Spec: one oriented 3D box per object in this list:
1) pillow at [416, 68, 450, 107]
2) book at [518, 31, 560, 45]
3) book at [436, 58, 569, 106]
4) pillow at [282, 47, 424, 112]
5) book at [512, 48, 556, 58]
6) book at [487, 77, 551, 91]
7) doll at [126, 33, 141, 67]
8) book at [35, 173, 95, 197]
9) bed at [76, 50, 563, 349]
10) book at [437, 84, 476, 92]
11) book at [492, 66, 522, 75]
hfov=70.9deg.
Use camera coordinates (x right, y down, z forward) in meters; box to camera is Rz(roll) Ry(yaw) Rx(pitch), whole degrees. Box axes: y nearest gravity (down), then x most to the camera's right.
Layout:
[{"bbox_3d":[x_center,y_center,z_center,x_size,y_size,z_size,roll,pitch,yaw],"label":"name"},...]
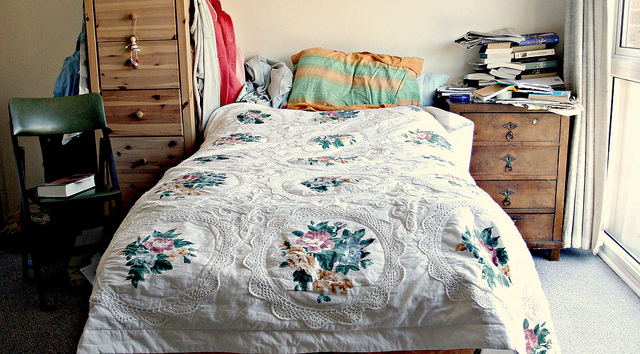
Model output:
[{"bbox_3d":[0.965,-0.788,3.940,0.359,0.283,0.097,8,0,13],"label":"pillow"},{"bbox_3d":[1.868,-1.199,3.865,0.373,0.110,0.246,1,17,6],"label":"book"},{"bbox_3d":[1.558,-0.746,3.712,0.735,0.189,0.688,1,24,6],"label":"book"},{"bbox_3d":[0.283,-0.818,3.855,1.239,0.602,0.304,0,-4,2],"label":"pillow"},{"bbox_3d":[1.805,-1.052,3.799,0.345,0.074,0.071,-3,19,-8],"label":"book"},{"bbox_3d":[1.654,-0.742,3.638,0.391,0.072,0.072,7,20,24],"label":"book"},{"bbox_3d":[-1.524,-1.035,3.658,0.100,0.246,0.091,-6,21,-12],"label":"doll"},{"bbox_3d":[-1.856,0.061,3.280,0.321,0.057,0.296,4,19,29],"label":"book"},{"bbox_3d":[0.003,0.322,2.747,2.348,0.927,1.385,-1,18,0],"label":"bed"},{"bbox_3d":[1.141,-0.739,3.790,0.304,0.040,0.113,5,18,18],"label":"book"},{"bbox_3d":[1.575,-0.904,3.799,0.216,0.067,0.032,4,21,14],"label":"book"}]
